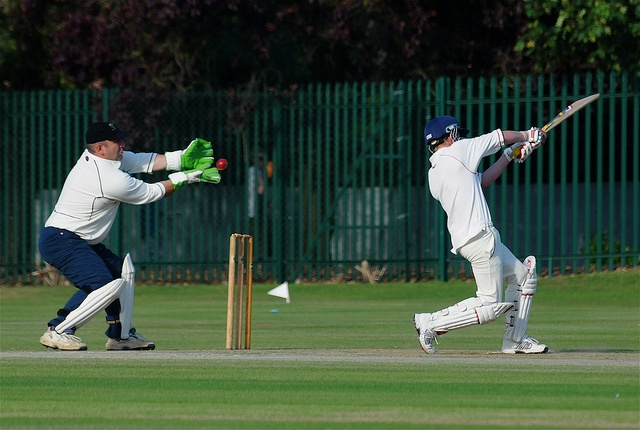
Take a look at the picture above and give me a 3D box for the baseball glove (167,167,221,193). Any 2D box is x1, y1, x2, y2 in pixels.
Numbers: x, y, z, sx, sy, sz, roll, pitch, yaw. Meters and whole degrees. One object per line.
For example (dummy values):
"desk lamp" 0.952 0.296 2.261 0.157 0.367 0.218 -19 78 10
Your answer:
"baseball glove" -1.686 -0.469 15.979 0.564 0.188 0.328 -6 -1 -1

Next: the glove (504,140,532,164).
"glove" 2.648 -0.847 15.833 0.297 0.119 0.301 -19 -13 39

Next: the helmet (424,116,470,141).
"helmet" 1.676 -1.155 15.909 0.498 0.236 0.331 -17 6 -7

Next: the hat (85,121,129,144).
"hat" -2.887 -1.117 15.902 0.492 0.183 0.299 -5 11 -6

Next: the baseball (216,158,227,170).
"baseball" -1.328 -0.673 15.745 0.187 0.170 0.110 4 7 20

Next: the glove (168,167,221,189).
"glove" -1.701 -0.498 15.968 0.551 0.183 0.323 -1 5 -5

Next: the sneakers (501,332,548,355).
"sneakers" 2.704 1.756 15.672 0.632 0.259 0.242 -1 -2 7
